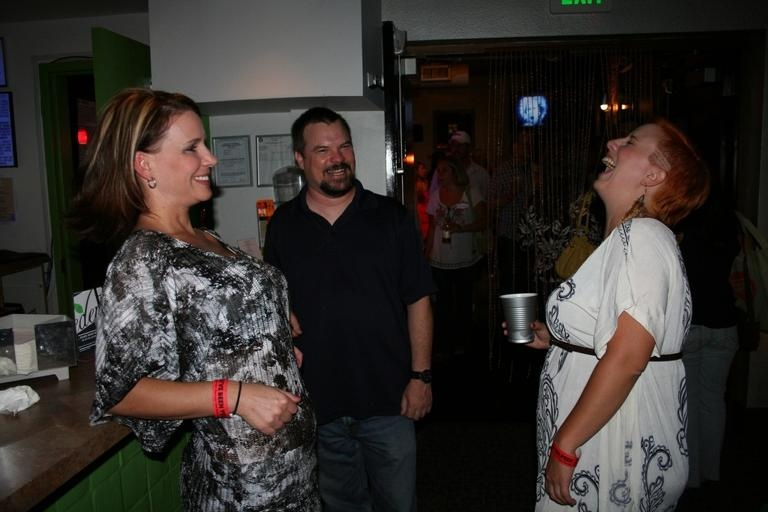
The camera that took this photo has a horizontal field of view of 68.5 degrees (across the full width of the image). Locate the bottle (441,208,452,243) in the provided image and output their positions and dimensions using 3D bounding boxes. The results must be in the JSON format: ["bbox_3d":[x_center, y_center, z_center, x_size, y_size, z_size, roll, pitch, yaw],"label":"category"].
[{"bbox_3d":[0.558,-0.269,5.122,0.083,0.310,0.049,-2,6,6],"label":"bottle"}]

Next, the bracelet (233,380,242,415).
[{"bbox_3d":[-0.541,0.521,2.088,0.018,0.107,0.045,3,9,42],"label":"bracelet"}]

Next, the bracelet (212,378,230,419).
[{"bbox_3d":[-0.602,0.523,2.078,0.044,0.126,0.126,-2,-5,-7],"label":"bracelet"}]

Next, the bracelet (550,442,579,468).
[{"bbox_3d":[0.677,0.764,2.188,0.104,0.047,0.086,25,6,-8],"label":"bracelet"}]

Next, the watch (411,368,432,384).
[{"bbox_3d":[0.185,0.605,2.850,0.092,0.058,0.072,-4,-11,22],"label":"watch"}]
